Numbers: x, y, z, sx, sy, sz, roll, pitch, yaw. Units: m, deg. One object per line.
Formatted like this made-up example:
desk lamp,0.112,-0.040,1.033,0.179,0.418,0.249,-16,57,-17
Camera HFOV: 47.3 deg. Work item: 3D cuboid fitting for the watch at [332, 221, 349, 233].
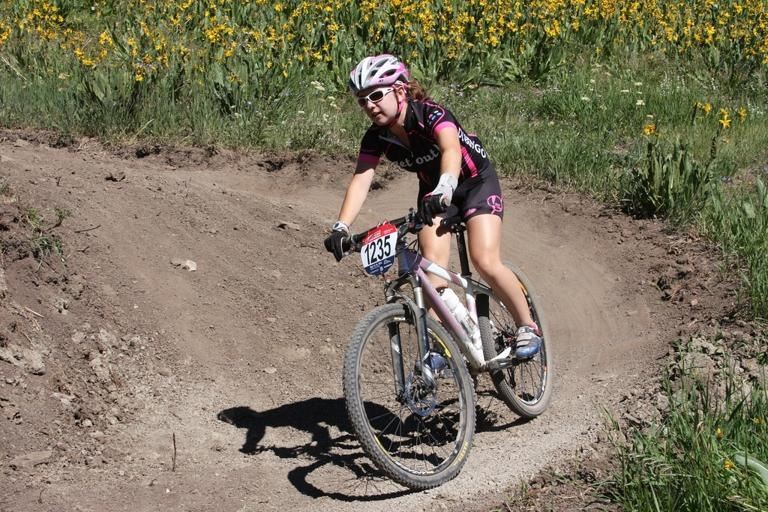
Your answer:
watch,-0.371,-0.243,7.546,0.085,0.056,0.114,12,5,42

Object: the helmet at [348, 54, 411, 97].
helmet,-0.027,-1.561,7.599,0.302,0.219,0.428,3,10,40

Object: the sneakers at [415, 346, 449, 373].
sneakers,0.420,0.928,7.521,0.186,0.286,0.108,-3,-12,28

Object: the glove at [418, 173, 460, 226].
glove,0.459,-0.482,7.407,0.287,0.140,0.424,-15,33,-3

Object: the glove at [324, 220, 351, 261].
glove,-0.398,-0.099,7.512,0.209,0.278,0.343,1,27,-4
